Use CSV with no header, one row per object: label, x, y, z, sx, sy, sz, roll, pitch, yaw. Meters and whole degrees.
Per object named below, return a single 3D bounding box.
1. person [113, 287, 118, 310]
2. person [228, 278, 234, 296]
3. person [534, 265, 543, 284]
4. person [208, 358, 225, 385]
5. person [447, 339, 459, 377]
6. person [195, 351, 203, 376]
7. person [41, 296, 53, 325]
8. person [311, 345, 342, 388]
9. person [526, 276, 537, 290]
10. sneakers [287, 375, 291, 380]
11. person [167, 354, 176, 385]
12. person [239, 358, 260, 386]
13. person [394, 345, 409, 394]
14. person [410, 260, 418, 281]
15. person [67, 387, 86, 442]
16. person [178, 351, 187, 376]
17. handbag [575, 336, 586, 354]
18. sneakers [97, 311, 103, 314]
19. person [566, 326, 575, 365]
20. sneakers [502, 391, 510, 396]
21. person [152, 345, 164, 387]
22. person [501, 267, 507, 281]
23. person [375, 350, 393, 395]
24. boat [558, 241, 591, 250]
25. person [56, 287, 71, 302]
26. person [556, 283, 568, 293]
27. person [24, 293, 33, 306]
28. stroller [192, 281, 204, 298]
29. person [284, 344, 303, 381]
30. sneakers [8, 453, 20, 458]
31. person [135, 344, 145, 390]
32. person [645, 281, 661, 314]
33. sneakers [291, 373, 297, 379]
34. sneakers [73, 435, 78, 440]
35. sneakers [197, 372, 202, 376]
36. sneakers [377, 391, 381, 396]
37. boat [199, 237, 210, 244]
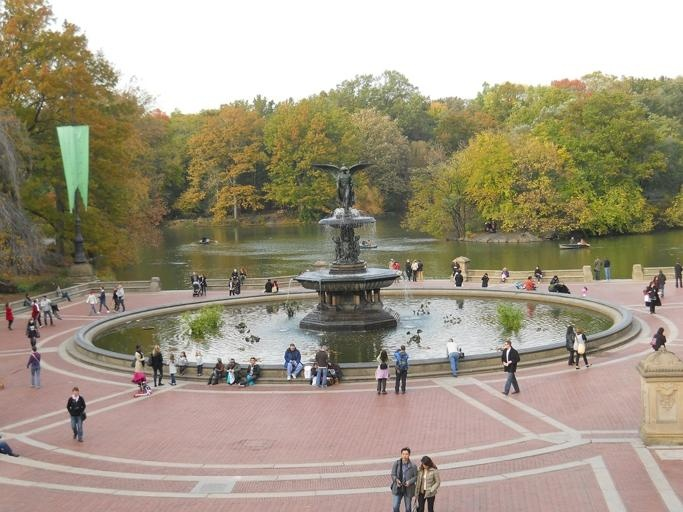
person,-11.814,2.246,52.723,0.263,1.142,1.044,-3,4,-13
person,-6.149,1.696,56.255,0.214,0.923,0.631,-3,4,-15
person,11.365,1.064,57.653,0.464,0.981,2.234,-2,3,11
person,-4.855,4.482,39.125,0.680,0.955,0.328,-3,4,-8
person,4.378,3.884,38.838,0.472,1.469,0.724,-2,4,5
person,-5.580,4.219,39.575,0.268,0.956,0.411,-3,4,-13
person,-14.613,2.758,49.944,0.526,1.229,1.544,-4,4,-16
person,-0.569,4.180,38.451,1.164,1.610,0.579,-3,4,-2
person,10.288,1.454,54.086,0.391,0.759,0.464,16,34,38
sneakers,-2.006,4.706,38.909,0.152,0.206,0.497,0,-5,-2
person,-6.620,4.412,39.527,0.322,1.233,1.039,-3,4,-10
person,-3.544,4.467,38.893,0.806,1.043,0.437,-3,4,-6
person,2.256,4.210,37.501,0.457,1.779,0.568,-2,4,5
person,4.464,0.914,59.809,0.463,1.165,1.297,-2,3,3
person,-9.100,5.463,34.601,0.534,1.827,0.405,-3,4,-6
person,-6.284,4.240,39.816,0.388,0.857,0.449,-6,5,-43
handbag,9.247,3.408,38.927,0.165,0.736,0.390,-6,5,-43
sneakers,-12.666,2.937,52.542,0.246,0.104,0.114,2,4,32
person,9.050,3.514,39.421,0.347,1.500,0.755,-2,4,12
sneakers,6.046,5.025,36.771,0.242,0.137,0.235,-2,3,10
person,-7.226,4.268,39.286,0.463,1.593,0.918,-3,4,-13
person,9.452,1.031,58.176,0.241,0.774,0.325,2,-15,17
person,1.564,4.306,37.680,0.478,1.581,0.930,-2,3,1
boat,19.656,-0.824,82.550,3.792,0.750,0.974,-2,6,-26
person,-15.394,2.103,55.631,0.744,0.902,1.994,-3,3,-14
person,11.470,1.649,51.895,0.459,0.453,1.011,0,4,35
person,-16.268,2.281,52.097,0.386,0.688,1.926,-4,4,-18
stroller,-8.038,1.787,56.663,0.612,0.904,0.483,-4,4,-17
person,-1.834,4.046,39.056,0.700,1.413,0.656,-3,4,-2
sneakers,-10.931,6.675,33.627,0.273,0.183,0.090,-4,11,-18
person,-7.854,4.239,39.265,0.379,1.442,2.286,-3,3,-11
person,14.695,1.969,47.174,0.658,1.275,2.022,-1,4,19
sneakers,-1.822,4.630,38.870,0.265,0.268,0.139,-3,4,-11
sneakers,-9.197,6.275,34.739,0.132,0.150,0.384,2,-5,-14
sneakers,-5.577,4.649,39.564,0.056,0.110,0.115,-12,-22,41
sneakers,1.447,5.070,37.328,0.160,0.117,0.087,-2,4,12
boat,-13.079,-1.448,96.185,0.832,0.707,1.815,-2,2,-6
